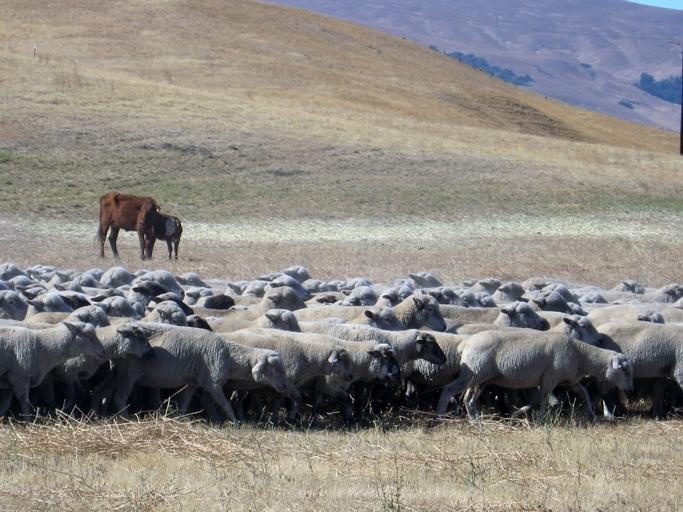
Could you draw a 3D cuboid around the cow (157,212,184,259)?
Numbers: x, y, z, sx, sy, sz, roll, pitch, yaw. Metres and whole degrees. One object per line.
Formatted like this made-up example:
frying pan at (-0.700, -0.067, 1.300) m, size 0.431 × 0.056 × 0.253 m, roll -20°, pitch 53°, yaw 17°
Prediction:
cow at (-9.983, -1.195, 92.138) m, size 1.407 × 2.368 × 3.999 m, roll 5°, pitch 12°, yaw -7°
